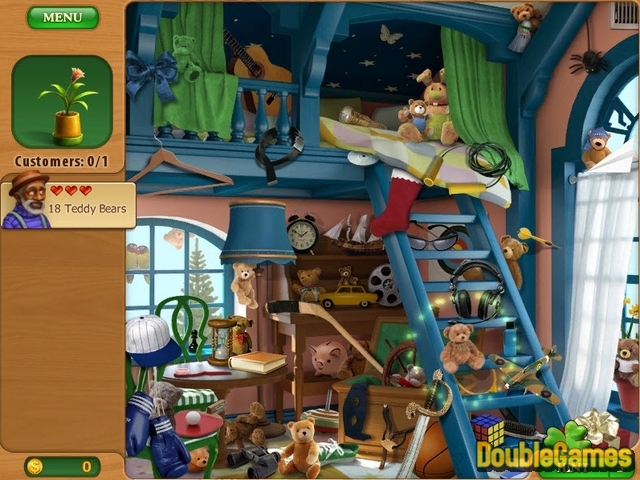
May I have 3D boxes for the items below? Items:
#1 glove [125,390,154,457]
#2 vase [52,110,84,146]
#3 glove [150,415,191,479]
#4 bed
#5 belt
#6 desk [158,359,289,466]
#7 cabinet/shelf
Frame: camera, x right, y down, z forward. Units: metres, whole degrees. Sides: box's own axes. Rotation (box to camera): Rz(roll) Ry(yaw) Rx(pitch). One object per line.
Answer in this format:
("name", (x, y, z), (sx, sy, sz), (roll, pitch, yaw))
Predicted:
("glove", (-1.064, 1.090, 4.044), (0.100, 0.354, 0.207), (-6, -8, 27))
("vase", (-1.351, -0.612, 3.719), (0.193, 0.164, 0.177), (2, 5, -1))
("glove", (-0.929, 1.296, 4.254), (0.237, 0.363, 0.151), (-14, -5, -18))
("bed", (-0.019, -1.102, 5.572), (2.973, 1.597, 1.538), (-1, -7, -16))
("belt", (-0.282, -0.624, 5.020), (0.333, 0.404, 0.103), (6, -13, 4))
("desk", (-0.757, 1.253, 5.061), (0.867, 0.584, 0.862), (0, -1, 29))
("cabinet/shelf", (0.156, 0.789, 5.876), (1.718, 1.248, 1.033), (0, -1, -16))
